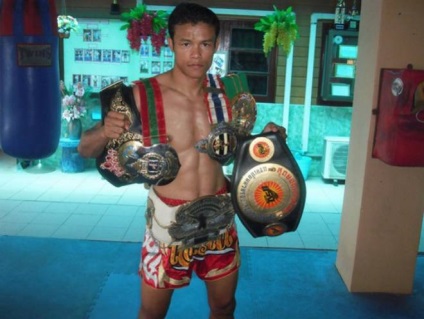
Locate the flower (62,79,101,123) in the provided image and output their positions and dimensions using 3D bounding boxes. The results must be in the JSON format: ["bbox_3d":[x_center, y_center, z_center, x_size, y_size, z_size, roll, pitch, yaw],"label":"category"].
[{"bbox_3d":[-2.164,-0.989,5.195,0.530,0.573,0.463,-22,30,-35],"label":"flower"}]

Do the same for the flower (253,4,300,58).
[{"bbox_3d":[0.892,-1.744,4.509,0.645,0.653,0.582,1,0,-4],"label":"flower"}]

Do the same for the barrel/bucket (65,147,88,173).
[{"bbox_3d":[-2.237,-0.037,5.492,0.393,0.429,0.393,0,6,0],"label":"barrel/bucket"}]

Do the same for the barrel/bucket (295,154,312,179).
[{"bbox_3d":[1.425,0.132,5.252,0.234,0.396,0.308,4,17,12],"label":"barrel/bucket"}]

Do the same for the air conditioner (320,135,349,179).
[{"bbox_3d":[1.904,0.009,5.194,0.364,0.704,0.336,6,17,17],"label":"air conditioner"}]
